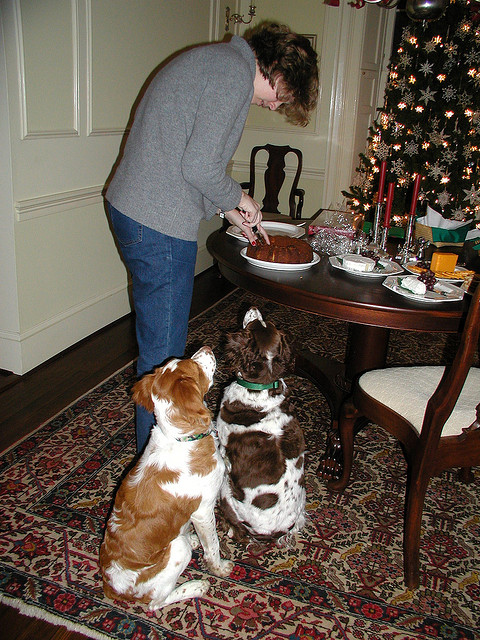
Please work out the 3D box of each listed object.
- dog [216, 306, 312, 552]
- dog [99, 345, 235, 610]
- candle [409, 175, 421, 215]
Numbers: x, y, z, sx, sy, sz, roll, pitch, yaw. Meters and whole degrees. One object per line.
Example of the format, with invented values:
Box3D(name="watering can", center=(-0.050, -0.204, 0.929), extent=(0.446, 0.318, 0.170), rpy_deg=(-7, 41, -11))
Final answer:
Box3D(name="dog", center=(0.056, 0.334, 1.412), extent=(0.278, 0.736, 0.371), rpy_deg=(0, -8, -2))
Box3D(name="dog", center=(-0.194, 0.463, 1.222), extent=(0.235, 0.747, 0.368), rpy_deg=(20, 30, 32))
Box3D(name="candle", center=(0.692, -0.500, 1.839), extent=(0.030, 0.188, 0.027), rpy_deg=(6, 1, 3))
